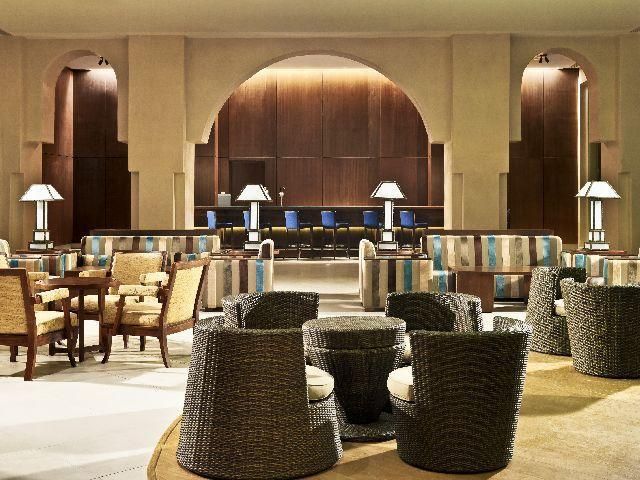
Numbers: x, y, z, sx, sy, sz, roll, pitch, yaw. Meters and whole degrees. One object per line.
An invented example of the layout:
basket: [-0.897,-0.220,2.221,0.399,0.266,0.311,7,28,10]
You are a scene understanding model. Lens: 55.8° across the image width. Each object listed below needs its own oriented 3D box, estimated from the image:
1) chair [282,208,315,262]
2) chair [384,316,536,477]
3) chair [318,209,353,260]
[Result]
chair: [-0.463,-0.137,13.511,0.607,1.094,0.909,0,5,-2]
chair: [0.620,0.640,2.626,0.533,0.528,0.539,0,-2,27]
chair: [0.346,-0.149,13.559,0.660,1.067,0.997,0,5,0]
